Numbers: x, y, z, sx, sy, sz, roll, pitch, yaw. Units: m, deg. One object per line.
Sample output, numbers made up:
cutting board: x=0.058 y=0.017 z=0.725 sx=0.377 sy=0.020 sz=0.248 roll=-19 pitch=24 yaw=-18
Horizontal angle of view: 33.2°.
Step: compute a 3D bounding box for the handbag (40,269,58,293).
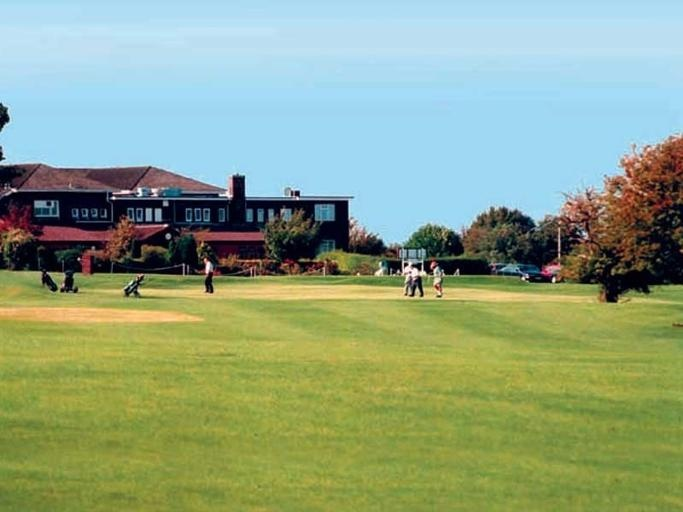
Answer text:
handbag: x=-14.785 y=1.282 z=57.608 sx=0.308 sy=0.351 sz=1.179 roll=42 pitch=7 yaw=-40
